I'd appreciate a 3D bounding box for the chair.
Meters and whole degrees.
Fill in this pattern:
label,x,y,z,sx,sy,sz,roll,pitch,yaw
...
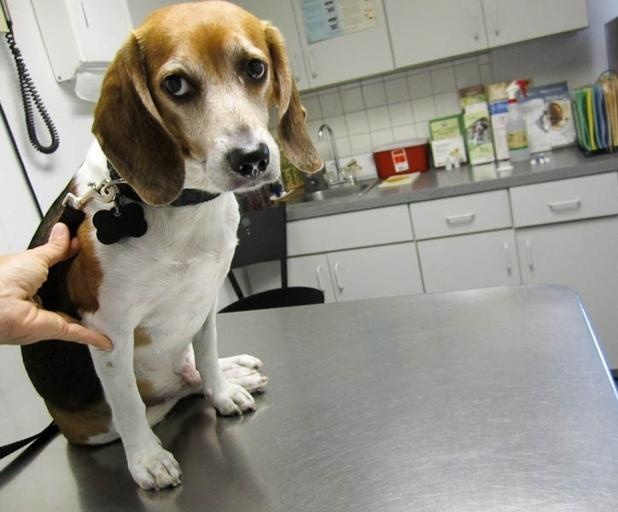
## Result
label,x,y,z,sx,sy,sz,roll,pitch,yaw
chair,-0.215,-0.059,2.386,0.474,0.934,0.601,-4,4,-2
